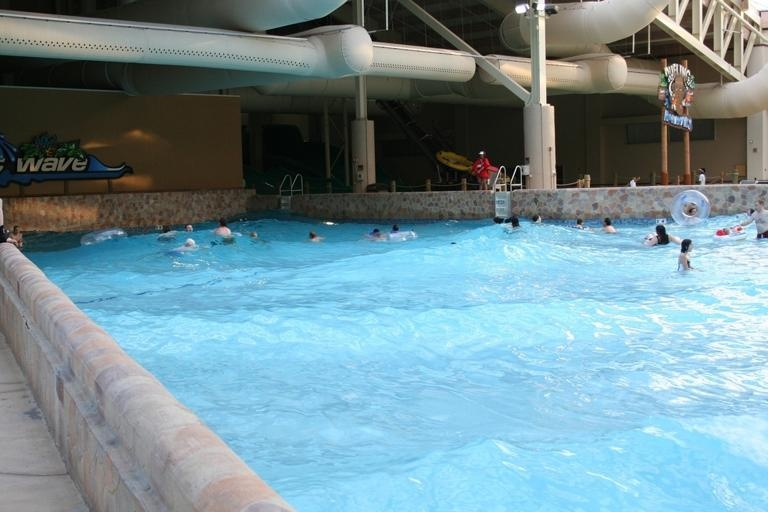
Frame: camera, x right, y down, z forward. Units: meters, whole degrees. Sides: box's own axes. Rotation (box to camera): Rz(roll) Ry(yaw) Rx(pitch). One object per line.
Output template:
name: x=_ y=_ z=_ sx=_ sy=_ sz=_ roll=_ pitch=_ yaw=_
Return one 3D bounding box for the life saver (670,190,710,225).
life saver: x=7.161 y=-1.138 z=13.600 sx=0.751 sy=0.848 sz=0.397 roll=5 pitch=14 yaw=27

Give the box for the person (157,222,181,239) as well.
person: x=-5.850 y=-0.696 z=15.717 sx=0.586 sy=0.291 sz=0.766 roll=-5 pitch=3 yaw=13

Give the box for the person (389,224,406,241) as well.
person: x=0.286 y=-0.587 z=13.926 sx=0.363 sy=0.298 sz=0.908 roll=-1 pitch=12 yaw=2

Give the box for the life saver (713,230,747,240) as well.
life saver: x=7.153 y=-0.415 z=11.948 sx=0.457 sy=0.134 sz=0.319 roll=-5 pitch=7 yaw=11

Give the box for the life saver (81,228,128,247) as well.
life saver: x=-7.069 y=-0.495 z=14.582 sx=0.662 sy=0.188 sz=0.642 roll=-15 pitch=18 yaw=-8

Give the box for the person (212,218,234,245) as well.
person: x=-3.744 y=-0.637 z=13.457 sx=0.444 sy=0.588 sz=0.883 roll=-5 pitch=13 yaw=-13

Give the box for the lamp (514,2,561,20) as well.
lamp: x=4.453 y=-7.124 z=16.726 sx=1.186 sy=0.425 sz=1.170 roll=1 pitch=6 yaw=14

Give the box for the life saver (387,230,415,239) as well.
life saver: x=0.439 y=-0.504 z=13.987 sx=0.493 sy=0.247 sz=0.271 roll=2 pitch=-10 yaw=-1

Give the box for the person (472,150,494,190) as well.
person: x=3.128 y=-2.697 z=18.102 sx=0.592 sy=1.122 sz=2.239 roll=0 pitch=12 yaw=9
